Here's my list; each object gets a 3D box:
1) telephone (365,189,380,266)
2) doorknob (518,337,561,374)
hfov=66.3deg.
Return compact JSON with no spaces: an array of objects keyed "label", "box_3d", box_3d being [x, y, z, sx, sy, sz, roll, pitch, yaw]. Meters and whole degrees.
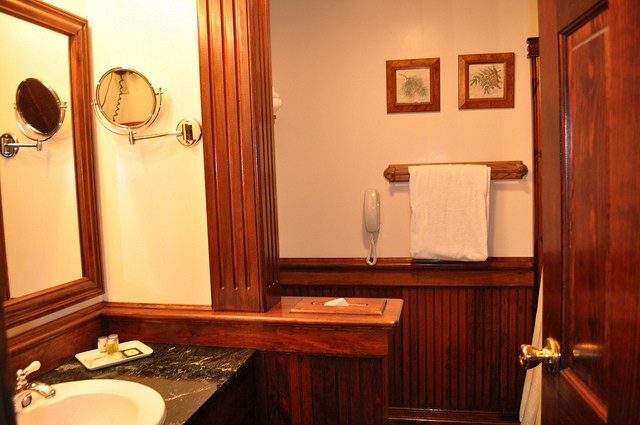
[{"label":"telephone","box_3d":[0.317,0.093,2.982,0.087,0.461,0.105,0,6,7]},{"label":"doorknob","box_3d":[0.714,0.449,1.584,0.108,0.103,0.109,-2,-5,-6]}]
